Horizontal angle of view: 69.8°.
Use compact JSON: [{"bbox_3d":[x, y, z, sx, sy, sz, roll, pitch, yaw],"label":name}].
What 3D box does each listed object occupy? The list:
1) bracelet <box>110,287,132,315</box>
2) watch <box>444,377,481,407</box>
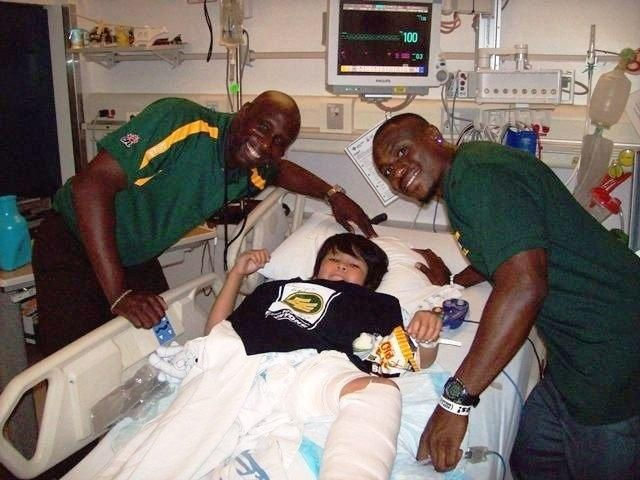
[{"bbox_3d":[-0.736,0.225,1.689,0.023,0.083,0.081,30,18,-1],"label":"bracelet"},{"bbox_3d":[0.389,0.430,1.306,0.093,0.057,0.075,32,2,3],"label":"watch"}]
